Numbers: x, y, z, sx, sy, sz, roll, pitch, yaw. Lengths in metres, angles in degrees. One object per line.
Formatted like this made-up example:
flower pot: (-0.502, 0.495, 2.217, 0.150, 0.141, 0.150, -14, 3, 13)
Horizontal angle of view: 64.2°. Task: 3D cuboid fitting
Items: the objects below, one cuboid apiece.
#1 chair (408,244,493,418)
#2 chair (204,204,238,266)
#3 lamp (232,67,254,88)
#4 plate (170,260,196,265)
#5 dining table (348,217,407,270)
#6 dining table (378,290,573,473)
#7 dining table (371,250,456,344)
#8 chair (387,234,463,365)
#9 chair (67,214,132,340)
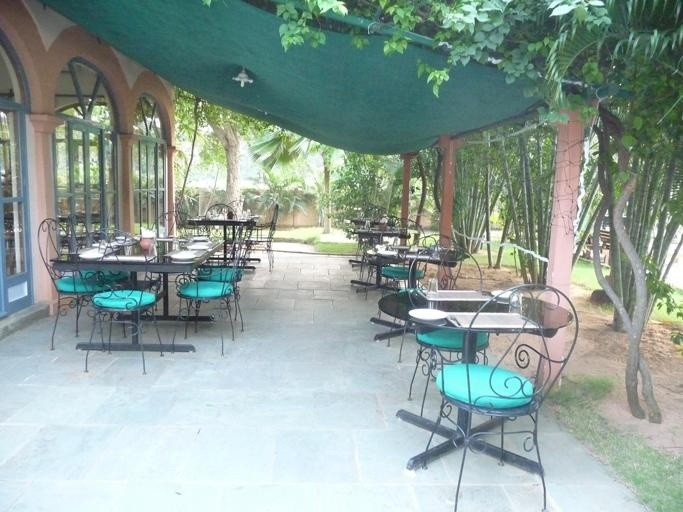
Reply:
chair: (0.790, 0.652, 4.023, 0.437, 0.668, 0.381, 15, -11, -13)
chair: (-2.200, -0.502, 9.536, 0.640, 1.057, 0.685, 7, 13, -10)
lamp: (-0.986, -1.777, 5.520, 0.215, 0.224, 0.058, 7, 32, 11)
plate: (-1.408, 0.051, 4.812, 0.182, 0.014, 0.145, 1, 7, -10)
dining table: (0.557, -0.332, 8.527, 0.903, 0.573, 0.911, -2, 14, -14)
dining table: (0.952, 0.722, 3.580, 0.994, 1.243, 0.878, 1, 10, -20)
dining table: (0.554, 0.530, 5.248, 0.473, 0.399, 0.468, 35, -10, -34)
chair: (0.838, 0.447, 5.514, 1.061, 1.098, 1.078, 2, 15, 5)
chair: (-2.336, 0.396, 5.359, 0.499, 0.825, 0.526, -9, 13, -38)
